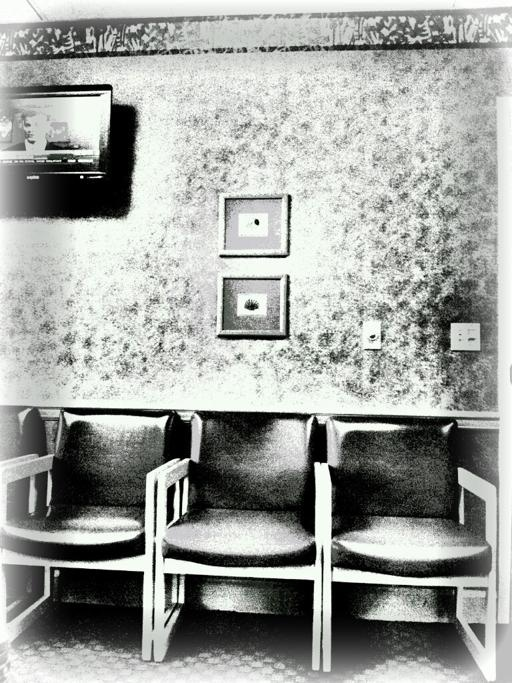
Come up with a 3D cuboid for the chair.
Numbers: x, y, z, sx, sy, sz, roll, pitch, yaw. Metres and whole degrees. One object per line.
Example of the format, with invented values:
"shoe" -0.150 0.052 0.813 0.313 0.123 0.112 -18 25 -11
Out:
"chair" 0.000 0.802 2.583 1.879 0.856 0.785 2 13 9
